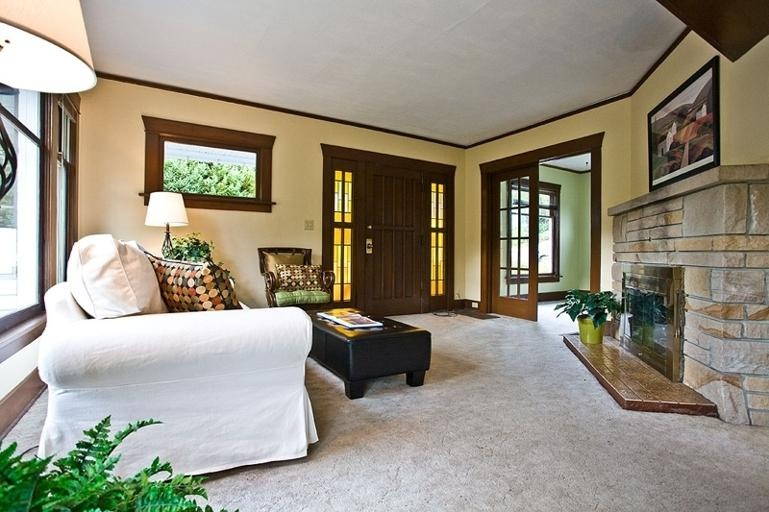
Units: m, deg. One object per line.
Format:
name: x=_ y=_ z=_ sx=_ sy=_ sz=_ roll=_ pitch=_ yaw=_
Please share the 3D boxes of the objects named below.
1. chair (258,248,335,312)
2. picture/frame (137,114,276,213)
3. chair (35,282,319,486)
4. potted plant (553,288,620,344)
chair: x=-1.029 y=0.269 z=5.410 sx=0.868 sy=0.750 sz=0.926 roll=-1 pitch=-1 yaw=0
picture/frame: x=-2.092 y=-1.055 z=5.300 sx=1.246 sy=0.876 sz=0.134 roll=2 pitch=-4 yaw=-30
chair: x=-1.140 y=0.588 z=2.674 sx=1.157 sy=0.746 sz=1.168 roll=1 pitch=-1 yaw=-28
potted plant: x=2.018 y=0.598 z=4.637 sx=0.531 sy=0.380 sz=0.556 roll=1 pitch=-10 yaw=-12
